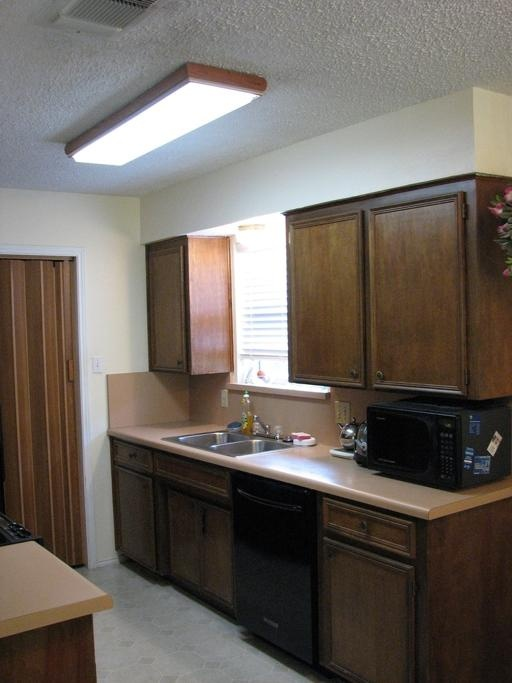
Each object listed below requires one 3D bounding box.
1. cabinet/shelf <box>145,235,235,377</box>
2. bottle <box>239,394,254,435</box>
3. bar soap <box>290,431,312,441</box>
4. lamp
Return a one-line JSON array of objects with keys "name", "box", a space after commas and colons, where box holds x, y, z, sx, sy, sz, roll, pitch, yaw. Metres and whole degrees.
[{"name": "cabinet/shelf", "box": [-0.452, -0.239, 3.873, 0.321, 0.924, 0.637, -1, -2, -35]}, {"name": "bottle", "box": [-0.058, 0.430, 3.490, 0.078, 0.251, 0.149, -2, -2, -2]}, {"name": "bar soap", "box": [0.238, 0.508, 3.094, 0.124, 0.023, 0.121, -4, -2, 35]}, {"name": "lamp", "box": [-0.393, -0.853, 2.239, 0.305, 0.126, 1.063, -1, -2, -37]}]
